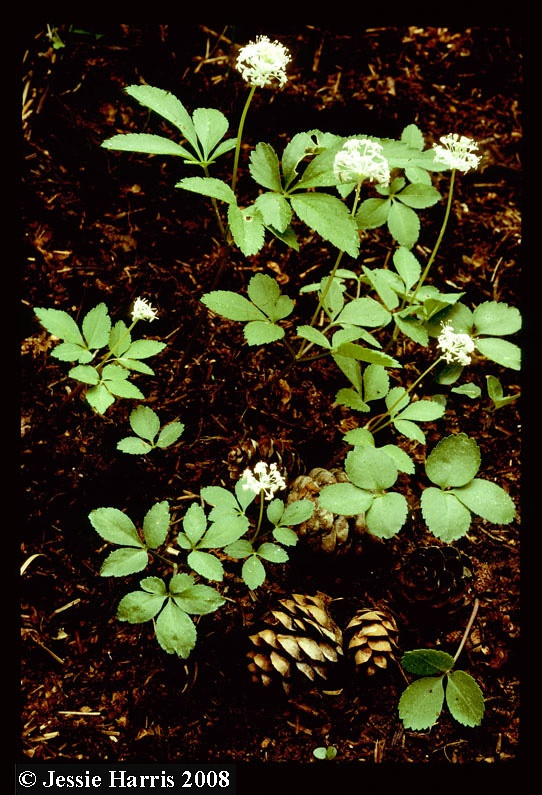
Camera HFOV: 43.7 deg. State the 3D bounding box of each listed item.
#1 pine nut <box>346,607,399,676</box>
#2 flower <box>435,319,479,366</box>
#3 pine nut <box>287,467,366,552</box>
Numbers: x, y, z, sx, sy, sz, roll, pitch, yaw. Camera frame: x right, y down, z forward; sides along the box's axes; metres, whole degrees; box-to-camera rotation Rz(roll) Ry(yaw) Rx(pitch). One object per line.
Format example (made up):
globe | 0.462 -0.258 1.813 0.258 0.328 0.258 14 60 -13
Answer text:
pine nut | 0.318 0.676 1.920 0.117 0.120 0.128 -21 65 12
flower | 0.491 -0.138 1.848 0.124 0.036 0.117 -7 78 -11
pine nut | 0.149 0.310 1.894 0.184 0.139 0.239 -15 61 -16
